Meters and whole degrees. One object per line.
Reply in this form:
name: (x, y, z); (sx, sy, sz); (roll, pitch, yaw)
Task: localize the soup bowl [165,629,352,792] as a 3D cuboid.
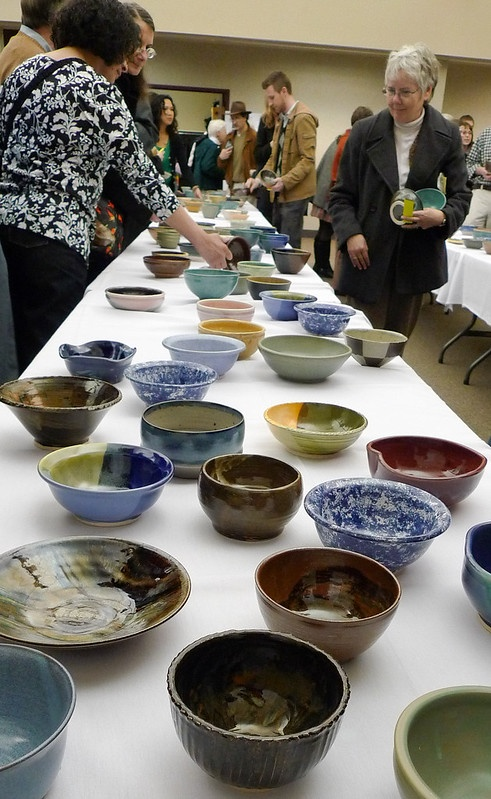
soup bowl: (0.007, 0.200, 0.382); (0.113, 0.079, 0.109); (3, 19, -1)

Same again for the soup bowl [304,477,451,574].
soup bowl: (0.162, 0.151, 0.675); (0.151, 0.065, 0.154); (5, 16, -2)

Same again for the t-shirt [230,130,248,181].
t-shirt: (-0.080, -2.992, 7.317); (0.185, 0.472, 0.357); (6, 0, 37)

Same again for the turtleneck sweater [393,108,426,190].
turtleneck sweater: (0.703, -1.055, 2.538); (0.199, 0.272, 0.106); (8, 29, 15)

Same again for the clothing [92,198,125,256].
clothing: (-0.577, -0.714, 2.509); (0.080, 0.232, 0.178); (3, -7, 18)

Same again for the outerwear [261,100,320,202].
outerwear: (0.351, -2.063, 5.052); (0.414, 0.770, 0.558); (-11, 21, -27)

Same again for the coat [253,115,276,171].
coat: (0.256, -2.840, 6.619); (0.182, 0.571, 0.435); (17, 18, 23)

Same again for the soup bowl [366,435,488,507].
soup bowl: (0.269, 0.093, 0.836); (0.117, 0.055, 0.119); (4, 25, -2)

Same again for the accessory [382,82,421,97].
accessory: (0.614, -1.244, 2.408); (0.160, 0.041, 0.072); (21, 26, 40)
